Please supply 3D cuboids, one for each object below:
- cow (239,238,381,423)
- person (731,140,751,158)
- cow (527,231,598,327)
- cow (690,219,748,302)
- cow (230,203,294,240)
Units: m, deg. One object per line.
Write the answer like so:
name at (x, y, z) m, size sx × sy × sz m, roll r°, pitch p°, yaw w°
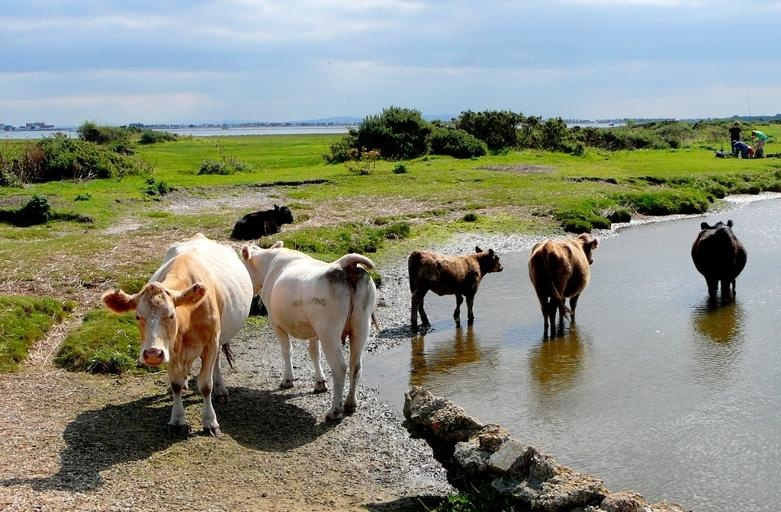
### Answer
cow at (-1.773, 1.710, 16.622) m, size 1.287 × 3.659 × 2.921 m, roll -12°, pitch 13°, yaw -44°
person at (26.392, -8.026, 54.460) m, size 0.946 × 1.266 × 3.190 m, roll 0°, pitch 9°, yaw 15°
cow at (5.109, 0.684, 21.631) m, size 1.571 × 2.714 × 4.646 m, roll 0°, pitch 2°, yaw 25°
cow at (10.158, 0.215, 22.537) m, size 1.372 × 2.120 × 1.458 m, roll 2°, pitch 10°, yaw 27°
cow at (-5.148, -1.312, 29.368) m, size 1.104 × 1.161 × 3.235 m, roll -23°, pitch -2°, yaw 35°
